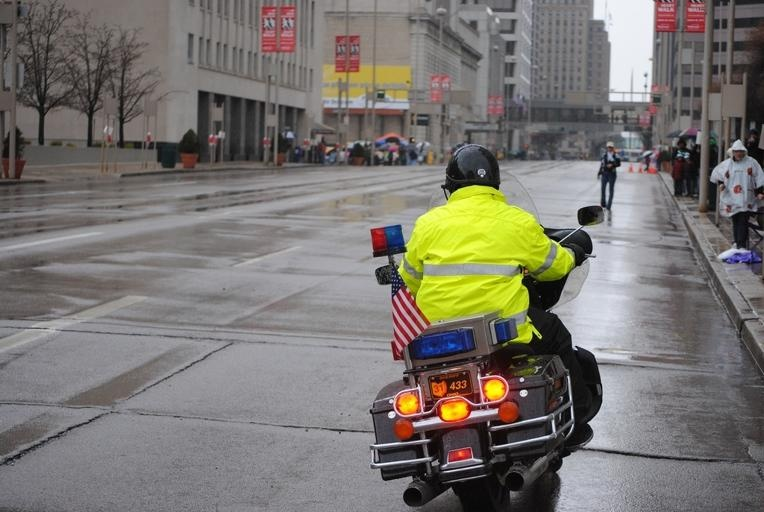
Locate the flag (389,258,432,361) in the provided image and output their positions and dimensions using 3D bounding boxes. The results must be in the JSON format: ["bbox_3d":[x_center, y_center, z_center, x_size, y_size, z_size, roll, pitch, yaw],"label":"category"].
[{"bbox_3d":[0.191,0.331,5.287,0.049,0.310,0.615,22,25,-24],"label":"flag"}]
